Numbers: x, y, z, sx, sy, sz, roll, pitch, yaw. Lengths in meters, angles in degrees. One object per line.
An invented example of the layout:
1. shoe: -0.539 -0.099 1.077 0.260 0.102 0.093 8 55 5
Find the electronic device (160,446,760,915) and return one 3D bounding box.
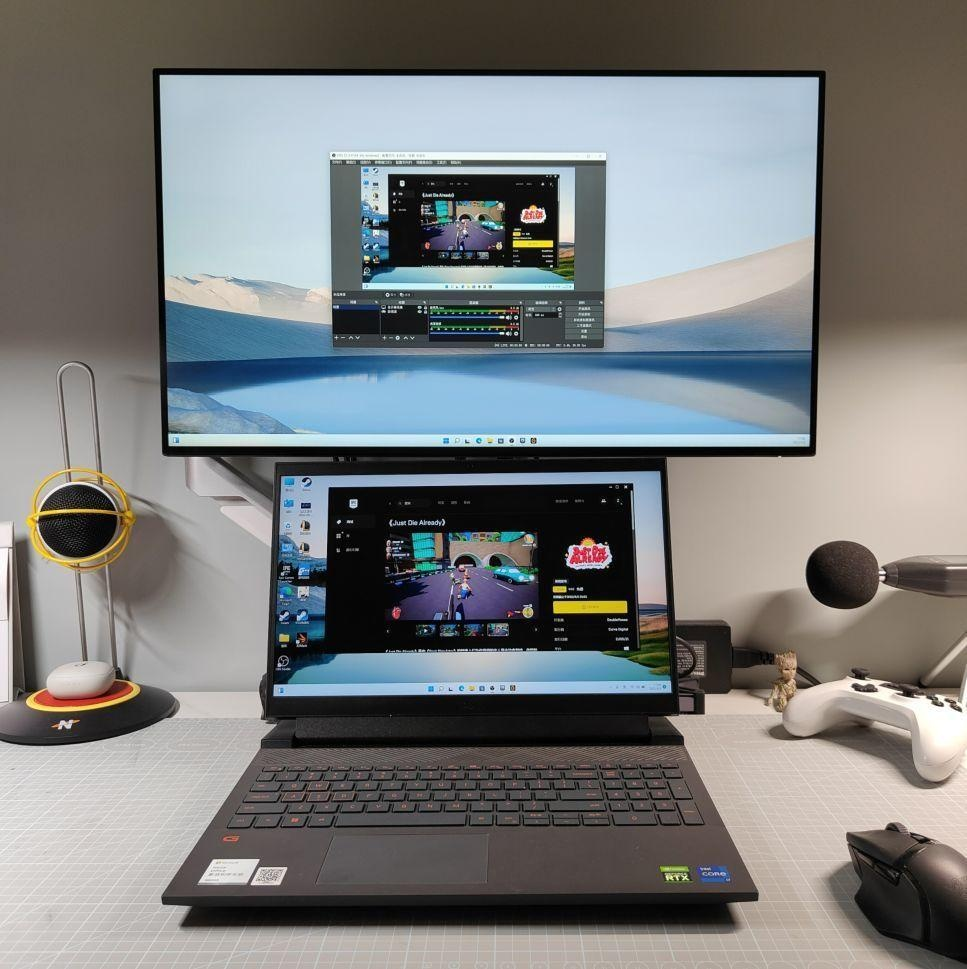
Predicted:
1. electronic device: -0.012 0.139 0.898 0.415 0.251 0.414 0 6 1

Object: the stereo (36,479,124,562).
1. stereo: -0.511 0.050 1.063 0.099 0.098 0.057 8 4 -16
